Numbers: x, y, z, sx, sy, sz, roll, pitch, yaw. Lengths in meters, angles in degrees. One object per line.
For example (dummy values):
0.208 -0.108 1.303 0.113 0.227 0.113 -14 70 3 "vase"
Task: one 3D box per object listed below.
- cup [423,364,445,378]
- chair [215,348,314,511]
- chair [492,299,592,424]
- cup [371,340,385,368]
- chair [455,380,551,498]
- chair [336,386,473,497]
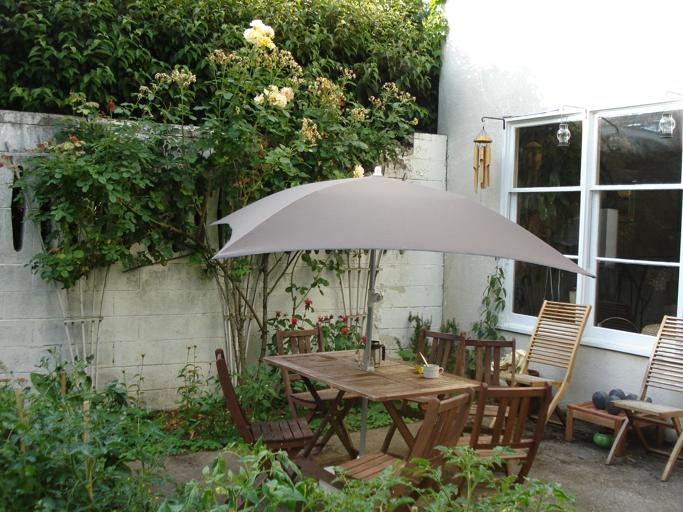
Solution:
0.742 0.934 5.116 0.128 0.081 0.097 3 -4 -19 "cup"
-0.585 1.147 4.827 0.844 0.862 0.533 -2 5 -43 "chair"
2.084 1.179 6.572 1.015 1.278 1.033 0 0 9 "chair"
0.316 0.825 5.339 0.120 0.189 0.176 1 2 -15 "cup"
1.096 1.312 4.561 0.551 1.002 0.674 2 7 -2 "chair"
0.391 1.171 4.148 0.637 0.626 0.682 -1 5 -41 "chair"
